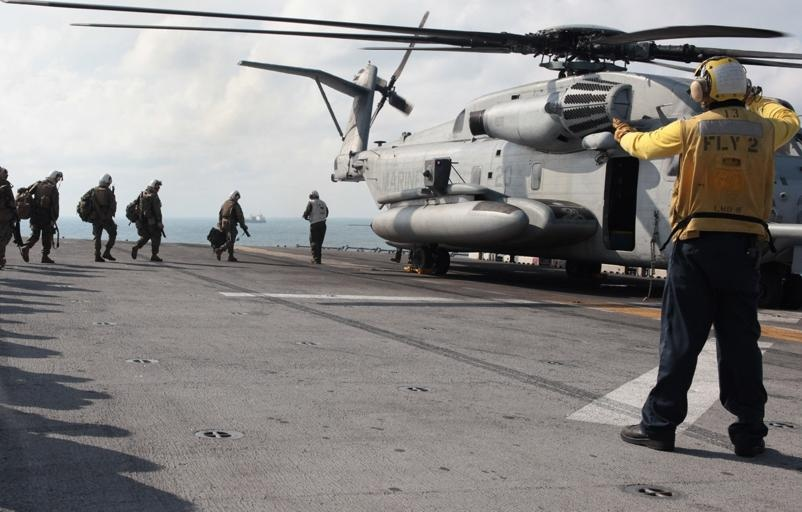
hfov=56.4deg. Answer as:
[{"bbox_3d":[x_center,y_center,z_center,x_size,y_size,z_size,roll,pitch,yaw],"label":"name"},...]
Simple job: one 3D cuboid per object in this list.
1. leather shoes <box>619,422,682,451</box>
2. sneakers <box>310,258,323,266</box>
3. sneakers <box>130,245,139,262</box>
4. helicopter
[{"bbox_3d":[2.112,1.508,6.286,0.413,0.156,0.187,9,-2,37],"label":"leather shoes"},{"bbox_3d":[-2.483,0.184,22.013,0.160,0.167,0.408,-1,5,-43],"label":"sneakers"},{"bbox_3d":[-7.346,-0.031,20.554,0.223,0.515,0.215,18,33,-7],"label":"sneakers"},{"bbox_3d":[1.099,-1.060,13.847,9.980,2.870,9.109,-4,8,-33],"label":"helicopter"}]
